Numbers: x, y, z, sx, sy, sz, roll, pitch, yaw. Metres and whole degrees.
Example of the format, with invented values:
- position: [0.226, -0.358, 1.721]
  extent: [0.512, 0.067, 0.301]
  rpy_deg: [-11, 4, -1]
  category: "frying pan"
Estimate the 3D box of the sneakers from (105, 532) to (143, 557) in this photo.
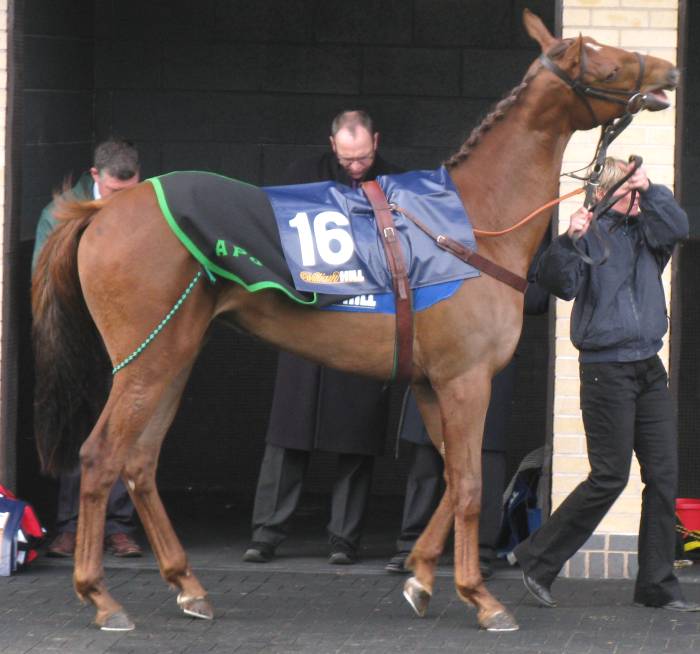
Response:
- position: [-1.198, 1.163, 8.086]
  extent: [0.218, 0.069, 0.099]
  rpy_deg: [3, 0, 41]
  category: "sneakers"

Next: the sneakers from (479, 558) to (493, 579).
- position: [0.681, 1.230, 7.701]
  extent: [0.051, 0.122, 0.060]
  rpy_deg: [2, 36, 27]
  category: "sneakers"

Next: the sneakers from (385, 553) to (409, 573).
- position: [0.243, 1.210, 7.700]
  extent: [0.088, 0.083, 0.227]
  rpy_deg: [-1, -6, 16]
  category: "sneakers"
